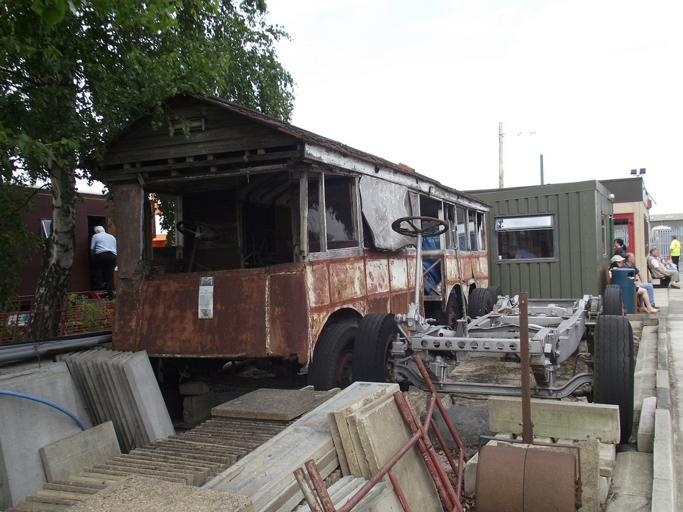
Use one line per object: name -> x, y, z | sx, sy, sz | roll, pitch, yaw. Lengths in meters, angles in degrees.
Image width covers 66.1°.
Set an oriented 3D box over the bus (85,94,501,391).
bus -> 0.069, 0.103, 10.334 | 3.301, 4.034, 9.205 | -4, -2, 26
